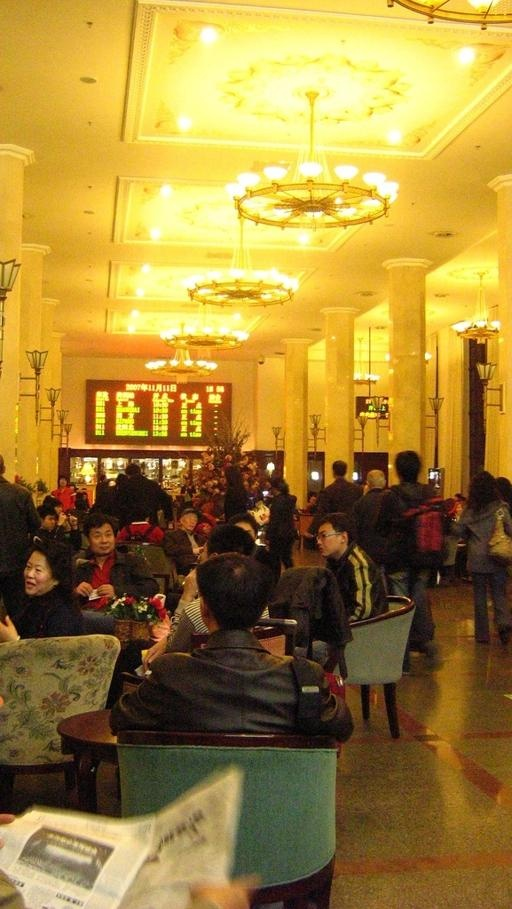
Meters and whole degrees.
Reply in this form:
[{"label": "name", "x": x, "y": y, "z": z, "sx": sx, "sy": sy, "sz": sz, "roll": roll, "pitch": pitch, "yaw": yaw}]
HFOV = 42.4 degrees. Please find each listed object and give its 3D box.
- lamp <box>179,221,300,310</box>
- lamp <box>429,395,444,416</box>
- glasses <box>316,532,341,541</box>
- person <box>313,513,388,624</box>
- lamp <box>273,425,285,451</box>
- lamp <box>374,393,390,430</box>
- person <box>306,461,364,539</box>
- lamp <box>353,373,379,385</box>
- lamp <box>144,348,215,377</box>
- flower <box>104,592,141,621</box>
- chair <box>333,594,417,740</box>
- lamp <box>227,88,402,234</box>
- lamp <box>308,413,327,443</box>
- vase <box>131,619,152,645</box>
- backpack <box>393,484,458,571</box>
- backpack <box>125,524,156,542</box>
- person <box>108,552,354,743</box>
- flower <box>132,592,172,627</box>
[{"label": "lamp", "x": -0.258, "y": -2.982, "z": 12.038, "sx": 1.606, "sy": 1.702, "sz": 1.700, "roll": 0, "pitch": -9, "yaw": 4}, {"label": "lamp", "x": 6.131, "y": -1.687, "z": 22.298, "sx": 0.427, "sy": 0.716, "sz": 1.044, "roll": 0, "pitch": -2, "yaw": 11}, {"label": "glasses", "x": 0.484, "y": 0.569, "z": 4.545, "sx": 0.163, "sy": 0.064, "sz": 0.055, "roll": -1, "pitch": -3, "yaw": 40}, {"label": "person", "x": 0.630, "y": 0.838, "z": 4.686, "sx": 0.503, "sy": 0.792, "sz": 0.519, "roll": -9, "pitch": -6, "yaw": -18}, {"label": "lamp", "x": 0.877, "y": -0.618, "z": 26.495, "sx": 0.461, "sy": 0.996, "sz": 0.226, "roll": 1, "pitch": -2, "yaw": -14}, {"label": "lamp", "x": 4.831, "y": -1.628, "z": 25.305, "sx": 0.517, "sy": 1.090, "sz": 2.328, "roll": 0, "pitch": -2, "yaw": 9}, {"label": "person", "x": 1.254, "y": 0.743, "z": 9.996, "sx": 0.722, "sy": 1.636, "sz": 0.492, "roll": -8, "pitch": 40, "yaw": -2}, {"label": "lamp", "x": 4.122, "y": -2.752, "z": 24.454, "sx": 0.905, "sy": 0.363, "sz": 0.956, "roll": 1, "pitch": -2, "yaw": 5}, {"label": "lamp", "x": -2.532, "y": -3.064, "z": 22.006, "sx": 1.371, "sy": 0.913, "sz": 1.374, "roll": -1, "pitch": 4, "yaw": -31}, {"label": "flower", "x": -0.744, "y": 0.866, "z": 3.736, "sx": 0.141, "sy": 0.147, "sz": 0.145, "roll": 6, "pitch": -19, "yaw": -2}, {"label": "chair", "x": 0.927, "y": 1.457, "z": 4.857, "sx": 0.694, "sy": 1.082, "sz": 0.889, "roll": 1, "pitch": -7, "yaw": -4}, {"label": "lamp", "x": 0.744, "y": -3.161, "z": 8.162, "sx": 1.571, "sy": 1.319, "sz": 1.606, "roll": -1, "pitch": 3, "yaw": -20}, {"label": "lamp", "x": 2.413, "y": -0.960, "z": 25.920, "sx": 0.577, "sy": 1.250, "sz": 1.007, "roll": 1, "pitch": -2, "yaw": 1}, {"label": "vase", "x": -0.634, "y": 0.985, "z": 3.675, "sx": 0.109, "sy": 0.125, "sz": 0.110, "roll": 1, "pitch": 4, "yaw": -6}, {"label": "backpack", "x": 1.620, "y": 0.724, "z": 6.531, "sx": 0.523, "sy": 0.818, "sz": 0.281, "roll": 0, "pitch": -2, "yaw": 4}, {"label": "backpack", "x": -1.369, "y": 0.962, "z": 7.949, "sx": 0.360, "sy": 0.304, "sz": 0.207, "roll": 0, "pitch": -20, "yaw": 0}, {"label": "person", "x": -0.046, "y": 0.645, "z": 2.056, "sx": 0.703, "sy": 0.664, "sz": 0.398, "roll": 1, "pitch": 3, "yaw": -8}, {"label": "flower", "x": -0.593, "y": 0.889, "z": 3.735, "sx": 0.156, "sy": 0.172, "sz": 0.163, "roll": 5, "pitch": 5, "yaw": -4}]
